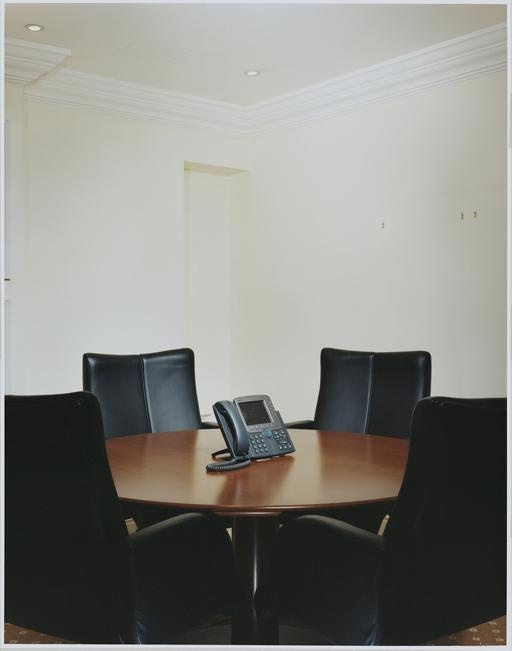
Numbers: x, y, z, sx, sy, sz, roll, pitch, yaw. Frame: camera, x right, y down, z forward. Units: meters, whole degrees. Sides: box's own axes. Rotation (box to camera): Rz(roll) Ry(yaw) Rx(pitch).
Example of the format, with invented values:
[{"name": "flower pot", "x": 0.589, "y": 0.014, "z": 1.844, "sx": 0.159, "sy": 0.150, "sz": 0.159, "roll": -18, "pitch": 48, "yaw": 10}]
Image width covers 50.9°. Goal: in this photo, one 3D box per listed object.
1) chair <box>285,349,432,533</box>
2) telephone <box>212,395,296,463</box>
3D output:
[{"name": "chair", "x": 0.505, "y": 0.421, "z": 2.265, "sx": 0.515, "sy": 0.807, "sz": 0.619, "roll": -3, "pitch": -7, "yaw": 37}, {"name": "telephone", "x": -0.002, "y": 0.296, "z": 1.525, "sx": 0.218, "sy": 0.165, "sz": 0.132, "roll": 0, "pitch": 1, "yaw": -43}]
